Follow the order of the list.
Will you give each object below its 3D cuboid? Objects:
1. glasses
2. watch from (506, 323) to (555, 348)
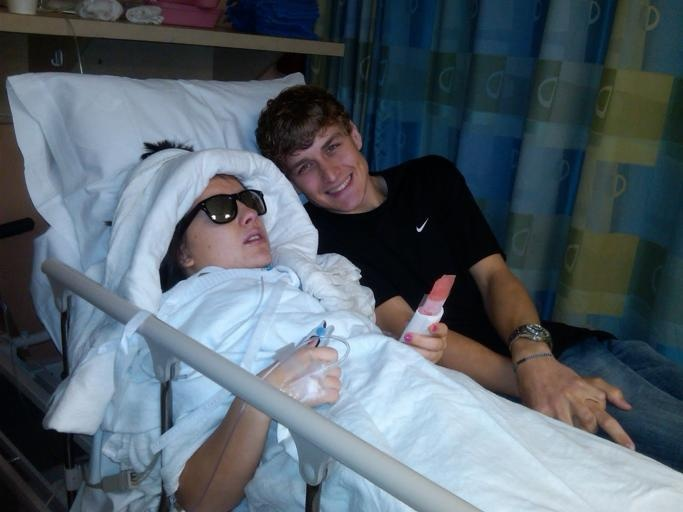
[{"bbox_3d":[-0.324,-0.144,1.593,0.161,0.054,0.155,-37,-16,36],"label":"glasses"},{"bbox_3d":[0.565,0.230,1.692,0.078,0.086,0.024,-9,45,26],"label":"watch"}]
